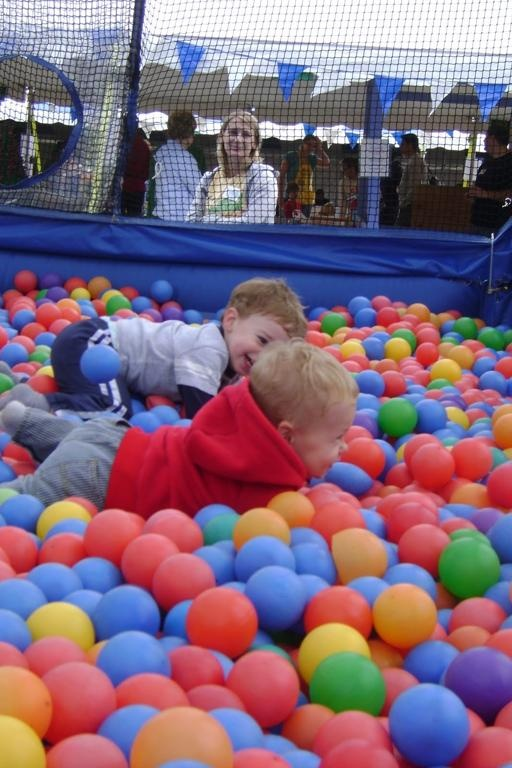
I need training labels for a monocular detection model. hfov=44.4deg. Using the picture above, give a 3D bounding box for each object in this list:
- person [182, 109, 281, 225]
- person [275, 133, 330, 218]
[{"bbox_3d":[-0.172,-1.513,4.719,0.697,1.028,0.590,8,5,18],"label":"person"},{"bbox_3d":[0.366,-1.454,4.784,0.367,0.855,0.243,1,-6,1],"label":"person"}]
